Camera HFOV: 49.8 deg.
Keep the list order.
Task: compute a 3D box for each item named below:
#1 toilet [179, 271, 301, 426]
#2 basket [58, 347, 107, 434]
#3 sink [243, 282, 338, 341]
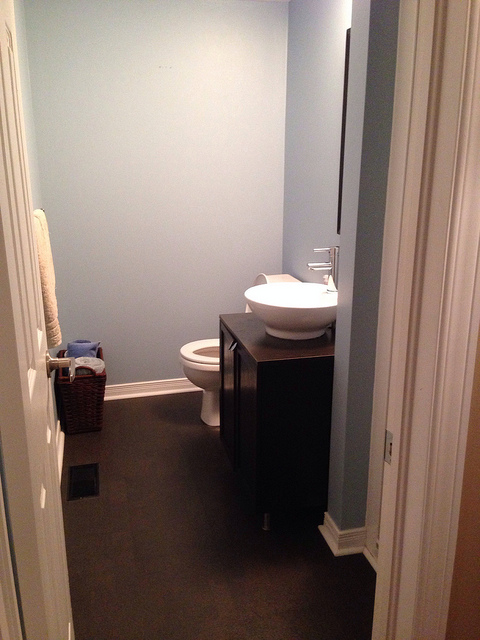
[{"bbox_3d":[-0.001,0.120,3.214,0.790,1.335,0.502,-3,12,-20],"label":"toilet"},{"bbox_3d":[-0.860,0.434,2.810,0.245,0.404,0.151,-6,11,-27],"label":"basket"},{"bbox_3d":[0.209,-0.059,2.127,0.375,0.224,0.560,2,13,10],"label":"sink"}]
